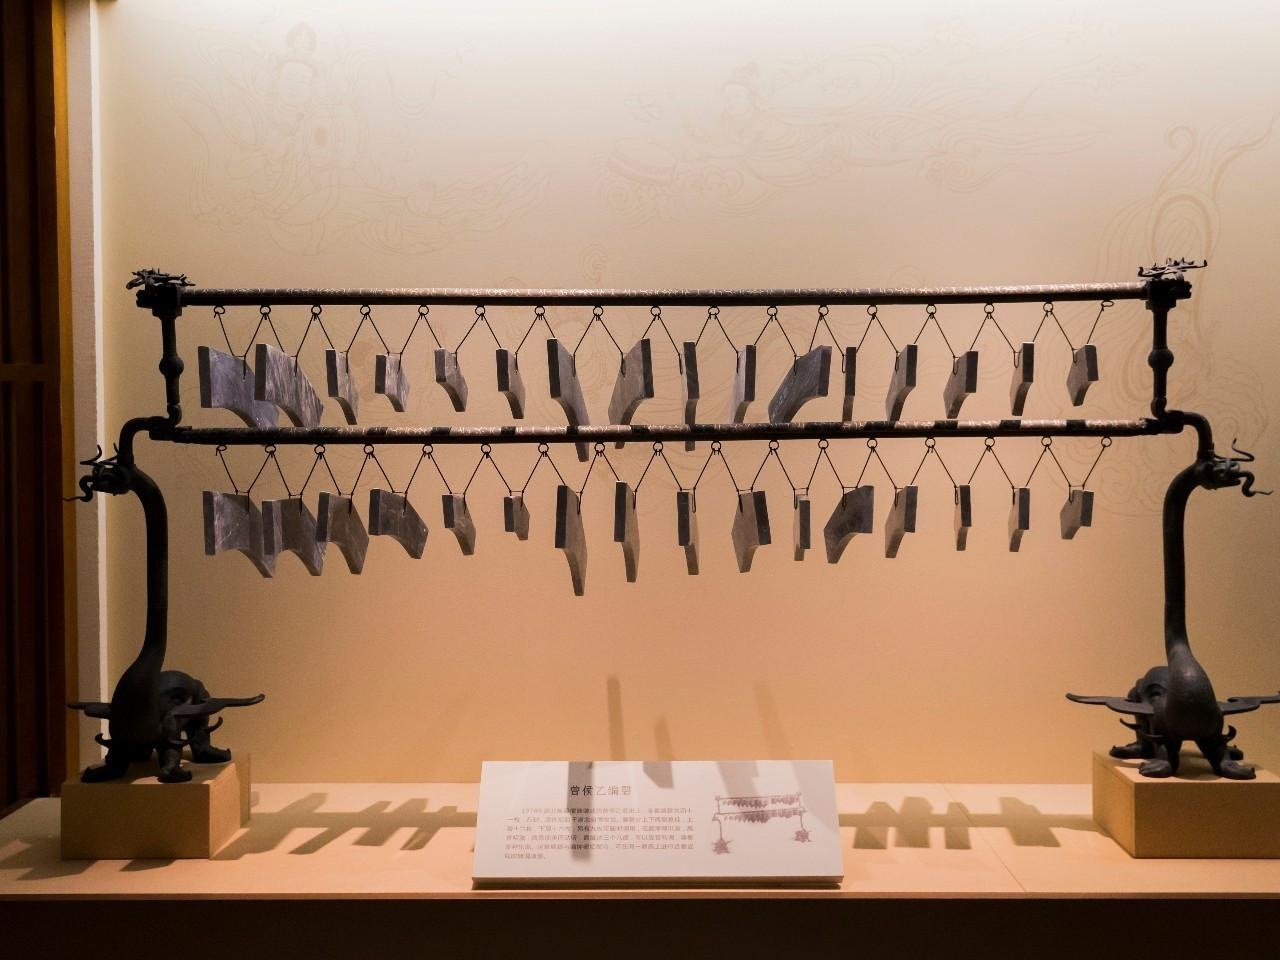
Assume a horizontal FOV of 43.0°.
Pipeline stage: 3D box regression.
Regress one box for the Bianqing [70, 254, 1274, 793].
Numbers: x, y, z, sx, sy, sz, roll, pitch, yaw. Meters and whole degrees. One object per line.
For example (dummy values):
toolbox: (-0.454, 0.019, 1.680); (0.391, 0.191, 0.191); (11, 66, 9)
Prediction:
Bianqing: (0.012, -0.029, 5.431); (3.548, 1.070, 1.377); (0, -83, 1)
